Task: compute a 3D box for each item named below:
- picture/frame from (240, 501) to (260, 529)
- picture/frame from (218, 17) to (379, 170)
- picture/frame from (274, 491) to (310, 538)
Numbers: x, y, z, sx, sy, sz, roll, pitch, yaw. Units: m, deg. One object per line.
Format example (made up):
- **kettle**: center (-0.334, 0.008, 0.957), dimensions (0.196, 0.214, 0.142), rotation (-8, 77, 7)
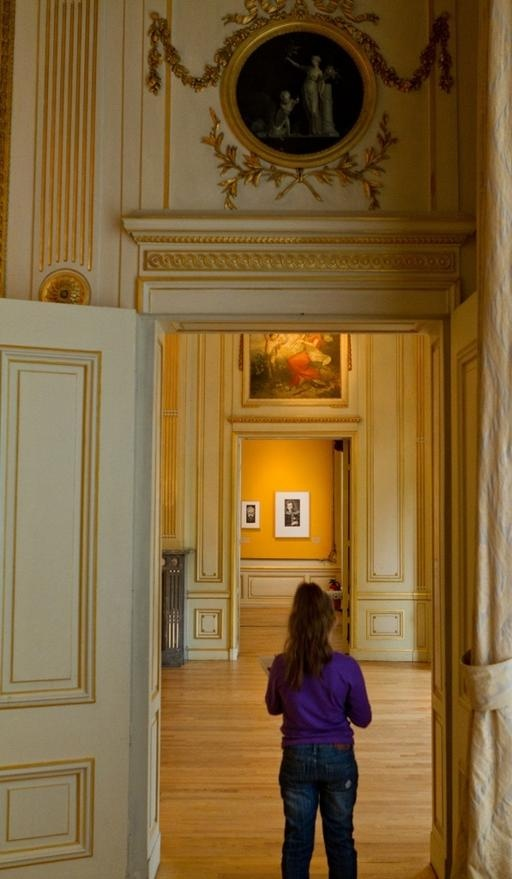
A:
- **picture/frame**: center (-0.078, 1.224, 13.304), dimensions (0.290, 0.458, 0.166), rotation (1, -5, -3)
- **picture/frame**: center (0.218, -1.598, 3.804), dimensions (0.619, 0.697, 0.037), rotation (0, 3, -1)
- **picture/frame**: center (0.588, 1.235, 13.215), dimensions (0.634, 0.964, 0.037), rotation (0, -22, 0)
